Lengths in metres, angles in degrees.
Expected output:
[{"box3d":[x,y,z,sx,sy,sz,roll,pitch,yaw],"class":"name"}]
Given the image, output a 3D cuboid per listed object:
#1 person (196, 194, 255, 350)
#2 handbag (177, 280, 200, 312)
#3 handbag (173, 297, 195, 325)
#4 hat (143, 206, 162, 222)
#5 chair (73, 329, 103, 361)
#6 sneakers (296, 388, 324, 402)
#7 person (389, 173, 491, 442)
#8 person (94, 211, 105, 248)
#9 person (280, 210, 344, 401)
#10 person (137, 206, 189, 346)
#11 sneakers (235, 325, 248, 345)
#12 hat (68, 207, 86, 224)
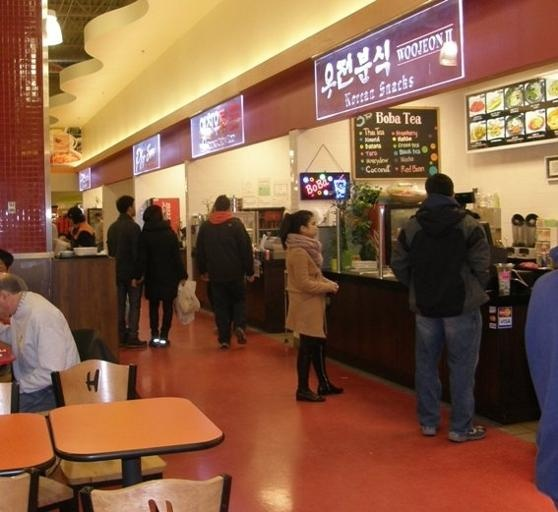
[{"box3d":[-0.642,0.175,6.036,0.689,1.775,0.399,-2,2,2],"class":"person"},{"box3d":[-1.115,0.489,6.190,0.236,0.402,0.375,-5,-11,-9],"class":"handbag"},{"box3d":[-1.145,0.631,6.233,0.203,0.225,0.338,3,35,-23],"class":"handbag"},{"box3d":[-1.525,-0.517,6.153,0.222,0.237,0.162,-6,10,-32],"class":"hat"},{"box3d":[-1.070,0.495,2.863,0.138,0.166,0.180,-1,-10,-15],"class":"chair"},{"box3d":[0.242,1.122,4.142,0.252,0.122,0.090,-2,-1,10],"class":"sneakers"},{"box3d":[1.051,0.308,3.313,0.602,1.705,0.318,-1,2,25],"class":"person"},{"box3d":[-5.627,-0.842,15.944,0.259,1.185,0.910,-3,2,-19],"class":"person"},{"box3d":[0.257,0.389,4.112,0.475,1.538,0.429,-2,2,6],"class":"person"},{"box3d":[-1.413,0.229,6.236,0.544,1.714,0.283,-2,2,-11],"class":"person"},{"box3d":[-0.437,0.936,5.968,0.096,0.231,0.103,-10,11,-3],"class":"sneakers"},{"box3d":[-2.655,-0.561,6.716,0.166,0.247,0.207,-7,23,-35],"class":"hat"}]
